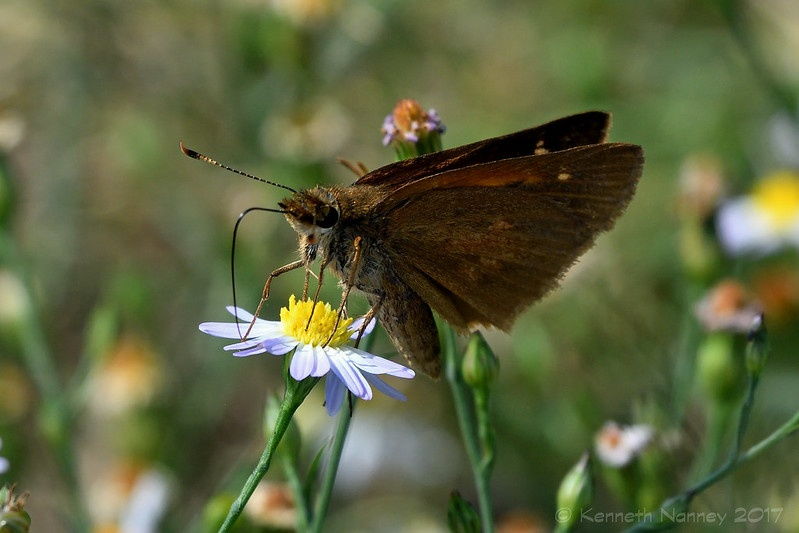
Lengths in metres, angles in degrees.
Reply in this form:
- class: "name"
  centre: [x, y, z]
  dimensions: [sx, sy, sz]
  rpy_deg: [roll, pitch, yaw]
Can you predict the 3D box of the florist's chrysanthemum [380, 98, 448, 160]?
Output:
- class: "florist's chrysanthemum"
  centre: [0.043, -0.503, 3.198]
  dimensions: [0.195, 0.199, 0.247]
  rpy_deg: [-29, -58, -35]
